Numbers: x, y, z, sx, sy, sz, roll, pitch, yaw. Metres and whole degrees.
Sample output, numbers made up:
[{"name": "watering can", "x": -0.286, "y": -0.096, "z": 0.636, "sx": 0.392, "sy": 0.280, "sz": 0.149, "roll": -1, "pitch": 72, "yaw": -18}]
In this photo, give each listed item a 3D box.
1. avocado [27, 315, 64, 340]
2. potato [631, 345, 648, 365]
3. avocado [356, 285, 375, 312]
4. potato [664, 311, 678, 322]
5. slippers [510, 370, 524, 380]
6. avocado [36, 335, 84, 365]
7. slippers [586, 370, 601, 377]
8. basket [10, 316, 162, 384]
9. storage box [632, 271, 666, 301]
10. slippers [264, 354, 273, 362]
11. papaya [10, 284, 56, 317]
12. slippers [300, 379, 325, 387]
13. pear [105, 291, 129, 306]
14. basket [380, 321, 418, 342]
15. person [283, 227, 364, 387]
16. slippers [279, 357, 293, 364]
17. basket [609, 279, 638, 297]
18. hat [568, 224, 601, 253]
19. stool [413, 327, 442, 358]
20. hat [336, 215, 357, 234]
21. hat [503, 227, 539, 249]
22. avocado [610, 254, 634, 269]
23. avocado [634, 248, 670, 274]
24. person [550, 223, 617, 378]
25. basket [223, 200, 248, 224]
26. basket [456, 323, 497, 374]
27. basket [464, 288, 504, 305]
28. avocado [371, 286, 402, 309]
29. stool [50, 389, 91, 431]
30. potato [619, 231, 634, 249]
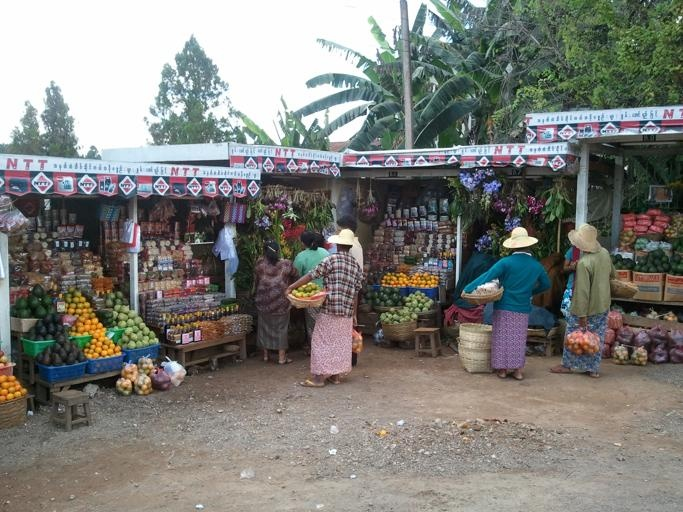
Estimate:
[{"name": "avocado", "x": -4.019, "y": 0.981, "z": 7.671, "sx": 0.273, "sy": 0.214, "sz": 0.446, "roll": 15, "pitch": 10, "yaw": -10}, {"name": "potato", "x": 4.822, "y": 1.618, "z": 9.243, "sx": 0.279, "sy": 0.317, "sz": 0.268, "roll": 3, "pitch": 3, "yaw": 32}, {"name": "avocado", "x": 0.489, "y": 0.855, "z": 11.284, "sx": 0.177, "sy": 0.416, "sz": 0.472, "roll": 10, "pitch": -2, "yaw": -38}, {"name": "potato", "x": 5.836, "y": 1.058, "z": 9.953, "sx": 0.187, "sy": 0.165, "sz": 0.181, "roll": -3, "pitch": 4, "yaw": -43}, {"name": "slippers", "x": 2.671, "y": 1.791, "z": 8.539, "sx": 0.086, "sy": 0.083, "sz": 0.220, "roll": 0, "pitch": -4, "yaw": -12}, {"name": "avocado", "x": -3.762, "y": 1.253, "z": 7.541, "sx": 0.427, "sy": 0.269, "sz": 0.421, "roll": 0, "pitch": 0, "yaw": 3}, {"name": "slippers", "x": 3.811, "y": 1.784, "z": 8.568, "sx": 0.079, "sy": 0.137, "sz": 0.217, "roll": 3, "pitch": -7, "yaw": -35}, {"name": "basket", "x": -3.503, "y": 1.338, "z": 7.894, "sx": 1.355, "sy": 0.409, "sz": 0.840, "roll": -4, "pitch": 7, "yaw": -39}, {"name": "storage box", "x": 5.472, "y": 0.542, "z": 10.011, "sx": 0.515, "sy": 0.470, "sz": 0.512, "roll": 1, "pitch": 0, "yaw": 28}, {"name": "slippers", "x": -1.264, "y": 1.721, "z": 9.770, "sx": 0.089, "sy": 0.157, "sz": 0.244, "roll": 1, "pitch": 15, "yaw": 11}, {"name": "papaya", "x": -4.277, "y": 0.689, "z": 7.852, "sx": 0.439, "sy": 0.209, "sz": 0.487, "roll": 25, "pitch": 19, "yaw": -10}, {"name": "slippers", "x": -0.429, "y": 1.871, "z": 8.312, "sx": 0.244, "sy": 0.061, "sz": 0.129, "roll": 3, "pitch": -2, "yaw": -3}, {"name": "pear", "x": -3.503, "y": 0.678, "z": 8.722, "sx": 0.247, "sy": 0.092, "sz": 0.243, "roll": 10, "pitch": 11, "yaw": 18}, {"name": "basket", "x": 1.080, "y": 1.402, "z": 10.444, "sx": 0.643, "sy": 0.460, "sz": 0.306, "roll": 0, "pitch": 9, "yaw": 5}, {"name": "person", "x": -0.138, "y": 0.774, "z": 8.208, "sx": 0.924, "sy": 2.300, "sz": 0.471, "roll": -1, "pitch": 9, "yaw": 0}, {"name": "slippers", "x": -0.956, "y": 1.779, "z": 9.570, "sx": 0.083, "sy": 0.081, "sz": 0.217, "roll": 5, "pitch": 9, "yaw": 42}, {"name": "basket", "x": 4.459, "y": 0.522, "z": 8.845, "sx": 0.486, "sy": 0.228, "sz": 0.673, "roll": 3, "pitch": 0, "yaw": 44}, {"name": "hat", "x": 3.563, "y": -0.237, "z": 8.231, "sx": 0.450, "sy": 0.237, "sz": 0.429, "roll": 28, "pitch": 6, "yaw": 21}, {"name": "stool", "x": 1.548, "y": 1.546, "z": 10.128, "sx": 0.520, "sy": 0.459, "sz": 0.502, "roll": -3, "pitch": -3, "yaw": 11}, {"name": "hat", "x": 0.083, "y": -0.509, "z": 8.830, "sx": 0.303, "sy": 0.271, "sz": 0.253, "roll": -1, "pitch": 6, "yaw": 5}, {"name": "hat", "x": 2.633, "y": -0.249, "z": 8.324, "sx": 0.444, "sy": 0.330, "sz": 0.413, "roll": 2, "pitch": 9, "yaw": 18}, {"name": "avocado", "x": 5.155, "y": 0.126, "z": 10.341, "sx": 0.354, "sy": 0.123, "sz": 0.342, "roll": 8, "pitch": 8, "yaw": 8}, {"name": "avocado", "x": 5.575, "y": 0.086, "z": 10.082, "sx": 0.558, "sy": 0.385, "sz": 0.301, "roll": 3, "pitch": 9, "yaw": 24}, {"name": "person", "x": 3.656, "y": 0.680, "z": 8.396, "sx": 0.713, "sy": 2.301, "sz": 0.456, "roll": -4, "pitch": 9, "yaw": -18}, {"name": "basket", "x": -1.848, "y": -0.778, "z": 9.900, "sx": 0.418, "sy": 0.386, "sz": 0.109, "roll": 3, "pitch": 3, "yaw": -43}, {"name": "basket", "x": 2.093, "y": 1.476, "z": 8.799, "sx": 0.710, "sy": 0.703, "sz": 0.645, "roll": 0, "pitch": -1, "yaw": 40}, {"name": "basket", "x": 2.046, "y": 0.596, "z": 8.133, "sx": 0.613, "sy": 0.245, "sz": 0.325, "roll": -6, "pitch": 9, "yaw": -33}, {"name": "avocado", "x": 0.900, "y": 0.825, "z": 11.095, "sx": 0.608, "sy": 0.385, "sz": 0.474, "roll": -1, "pitch": 8, "yaw": 1}, {"name": "stool", "x": -3.356, "y": 1.884, "z": 7.002, "sx": 0.466, "sy": 0.425, "sz": 0.477, "roll": -1, "pitch": -1, "yaw": 35}, {"name": "potato", "x": 5.604, "y": -0.315, "z": 10.995, "sx": 0.285, "sy": 0.373, "sz": 0.135, "roll": 4, "pitch": 10, "yaw": 31}]
